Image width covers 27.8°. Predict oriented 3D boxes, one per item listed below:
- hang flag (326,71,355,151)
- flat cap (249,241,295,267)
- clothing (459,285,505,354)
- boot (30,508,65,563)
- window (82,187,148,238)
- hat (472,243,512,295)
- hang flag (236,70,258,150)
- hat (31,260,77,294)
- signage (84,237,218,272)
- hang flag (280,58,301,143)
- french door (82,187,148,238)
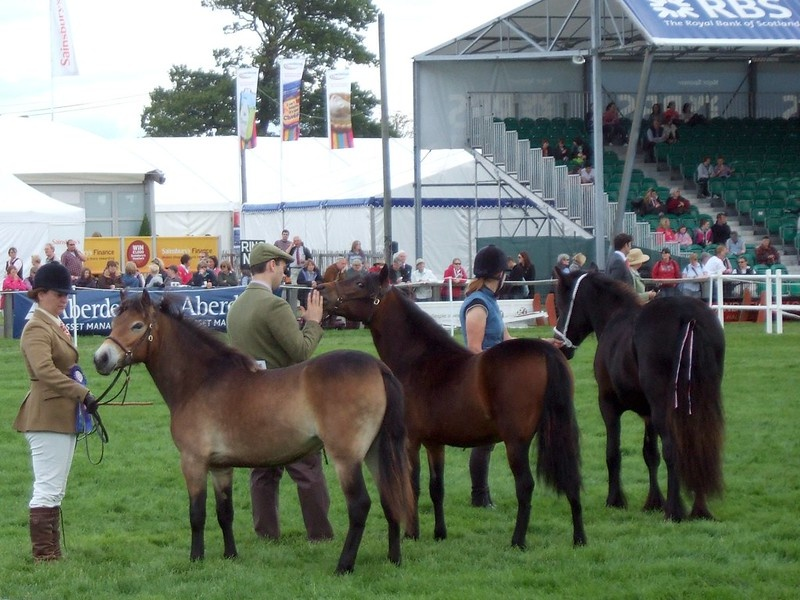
[{"bbox_3d":[-1.517,-4.805,40.919,0.677,1.820,1.834,1,2,-3],"label":"hang flag"},{"bbox_3d":[-1.949,-0.700,24.020,0.465,0.276,0.359,-7,8,-11],"label":"flat cap"},{"bbox_3d":[1.304,0.404,24.911,0.644,1.364,1.282,1,2,3],"label":"clothing"},{"bbox_3d":[-5.184,3.385,23.651,0.458,0.776,0.218,1,2,-16],"label":"boot"},{"bbox_3d":[-8.044,-2.490,45.268,1.377,1.596,0.157,-1,16,-15],"label":"window"},{"bbox_3d":[1.386,-0.505,24.508,0.479,0.806,0.613,1,11,3],"label":"hat"},{"bbox_3d":[-4.207,-5.236,44.345,0.550,2.133,1.394,1,2,-6],"label":"hang flag"},{"bbox_3d":[-5.173,-0.345,23.842,0.370,0.391,0.495,3,3,-43],"label":"hat"},{"bbox_3d":[-6.693,-1.258,43.036,3.592,0.989,1.120,1,2,-24],"label":"signage"},{"bbox_3d":[-2.900,-5.363,43.051,0.610,2.145,1.007,1,2,-5],"label":"hang flag"},{"bbox_3d":[-8.044,-2.490,45.268,1.377,1.596,0.157,-1,16,-15],"label":"french door"}]
